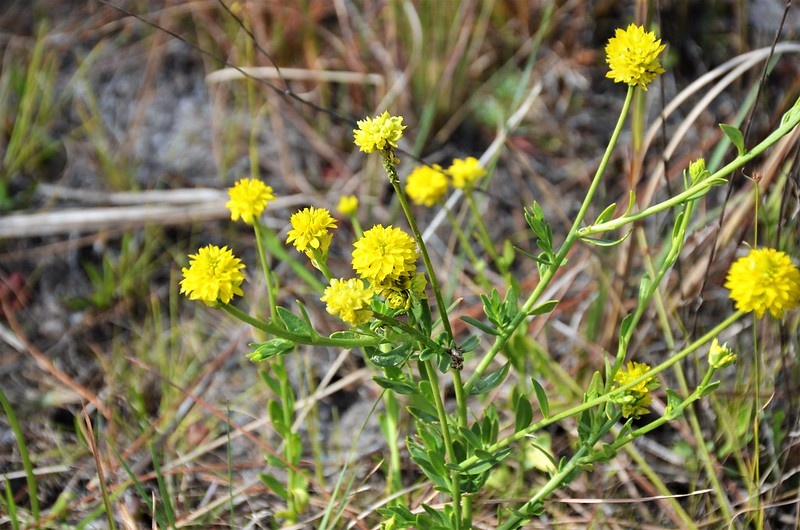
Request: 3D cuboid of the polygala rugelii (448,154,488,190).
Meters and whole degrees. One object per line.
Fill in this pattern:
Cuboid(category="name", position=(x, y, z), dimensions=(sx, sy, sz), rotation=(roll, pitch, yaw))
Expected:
Cuboid(category="polygala rugelii", position=(0.281, -0.415, 3.139), dimensions=(0.134, 0.103, 0.128), rotation=(-55, 22, -12))

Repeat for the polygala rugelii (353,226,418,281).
Cuboid(category="polygala rugelii", position=(-0.045, -0.029, 2.225), dimensions=(0.172, 0.074, 0.188), rotation=(26, 90, 8))

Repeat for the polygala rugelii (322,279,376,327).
Cuboid(category="polygala rugelii", position=(-0.159, 0.109, 2.284), dimensions=(0.141, 0.156, 0.089), rotation=(-38, 3, 17))

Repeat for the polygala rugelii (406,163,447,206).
Cuboid(category="polygala rugelii", position=(0.126, -0.358, 3.235), dimensions=(0.176, 0.080, 0.204), rotation=(-5, 87, 10))

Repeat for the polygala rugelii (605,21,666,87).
Cuboid(category="polygala rugelii", position=(0.807, -0.703, 2.410), dimensions=(0.181, 0.190, 0.209), rotation=(1, 84, 36))

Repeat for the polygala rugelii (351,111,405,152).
Cuboid(category="polygala rugelii", position=(-0.064, -0.450, 2.320), dimensions=(0.141, 0.145, 0.079), rotation=(-9, 94, 28))

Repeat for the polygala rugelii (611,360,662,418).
Cuboid(category="polygala rugelii", position=(0.819, 0.478, 2.480), dimensions=(0.118, 0.133, 0.058), rotation=(-32, 81, -40))
